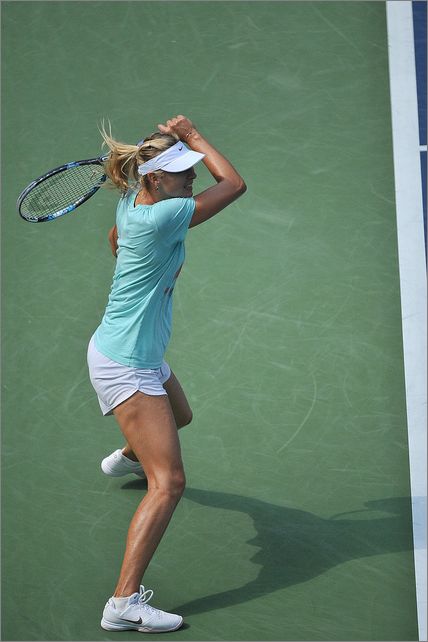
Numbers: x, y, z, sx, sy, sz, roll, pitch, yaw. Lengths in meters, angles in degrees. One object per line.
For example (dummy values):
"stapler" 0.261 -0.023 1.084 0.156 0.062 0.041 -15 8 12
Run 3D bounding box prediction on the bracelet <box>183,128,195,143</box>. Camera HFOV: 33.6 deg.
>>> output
"bracelet" -0.103 -0.804 3.085 0.051 0.041 0.052 -42 20 16

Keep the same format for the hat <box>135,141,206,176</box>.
"hat" -0.141 -0.654 2.835 0.305 0.114 0.155 -17 31 -20

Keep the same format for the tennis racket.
"tennis racket" -0.654 -0.630 3.354 1.053 0.252 0.071 -18 57 7

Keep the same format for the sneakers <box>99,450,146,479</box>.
"sneakers" -0.478 0.754 3.637 0.294 0.181 0.096 11 57 -7
